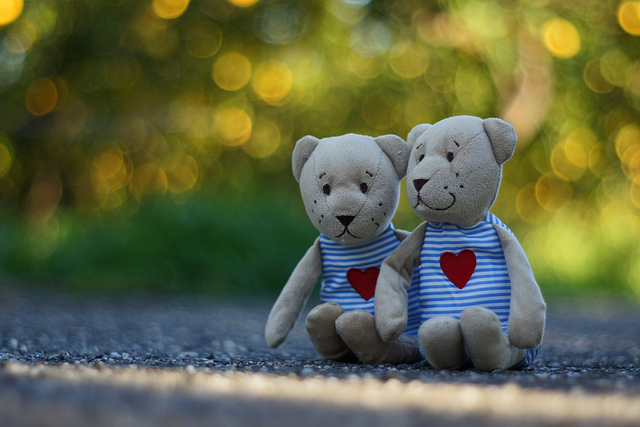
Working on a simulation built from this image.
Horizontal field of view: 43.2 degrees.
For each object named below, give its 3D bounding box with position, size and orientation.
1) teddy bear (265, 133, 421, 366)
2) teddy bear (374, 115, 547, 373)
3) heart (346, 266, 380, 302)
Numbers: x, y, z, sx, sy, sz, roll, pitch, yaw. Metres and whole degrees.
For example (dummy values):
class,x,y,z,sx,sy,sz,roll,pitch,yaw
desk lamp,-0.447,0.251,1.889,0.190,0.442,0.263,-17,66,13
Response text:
class,x,y,z,sx,sy,sz,roll,pitch,yaw
teddy bear,0.277,0.291,6.407,1.362,1.843,1.013,0,8,-1
teddy bear,1.067,0.227,6.265,1.151,1.999,1.137,-1,-2,-43
heart,0.348,0.553,6.317,0.240,0.253,0.038,-3,-19,8
